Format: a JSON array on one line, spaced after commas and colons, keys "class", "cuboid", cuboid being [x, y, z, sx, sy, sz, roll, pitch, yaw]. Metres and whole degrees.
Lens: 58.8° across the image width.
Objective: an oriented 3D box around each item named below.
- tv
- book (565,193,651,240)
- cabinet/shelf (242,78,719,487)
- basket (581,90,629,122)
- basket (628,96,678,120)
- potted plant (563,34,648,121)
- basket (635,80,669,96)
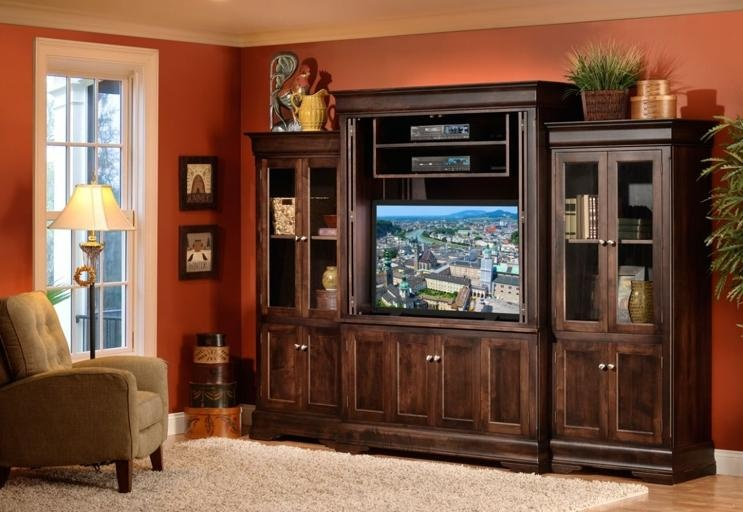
[{"class": "tv", "cuboid": [0.659, 0.043, 5.403, 1.157, 0.717, 0.029, 1, 1, 22]}, {"class": "book", "cuboid": [1.828, -0.297, 5.056, 0.624, 0.349, 0.021, 1, 2, 15]}, {"class": "cabinet/shelf", "cuboid": [1.013, 0.240, 5.264, 3.663, 2.590, 0.939, 1, 0, 27]}, {"class": "basket", "cuboid": [1.848, -1.136, 5.148, 0.301, 0.165, 0.296, 2, 5, 29]}, {"class": "basket", "cuboid": [2.151, -1.079, 5.014, 0.269, 0.121, 0.258, 1, 4, 21]}, {"class": "potted plant", "cuboid": [1.815, -1.316, 5.211, 0.574, 0.506, 0.536, 0, -5, -32]}, {"class": "basket", "cuboid": [2.170, -1.286, 5.050, 0.232, 0.147, 0.163, 1, 3, 19]}]
